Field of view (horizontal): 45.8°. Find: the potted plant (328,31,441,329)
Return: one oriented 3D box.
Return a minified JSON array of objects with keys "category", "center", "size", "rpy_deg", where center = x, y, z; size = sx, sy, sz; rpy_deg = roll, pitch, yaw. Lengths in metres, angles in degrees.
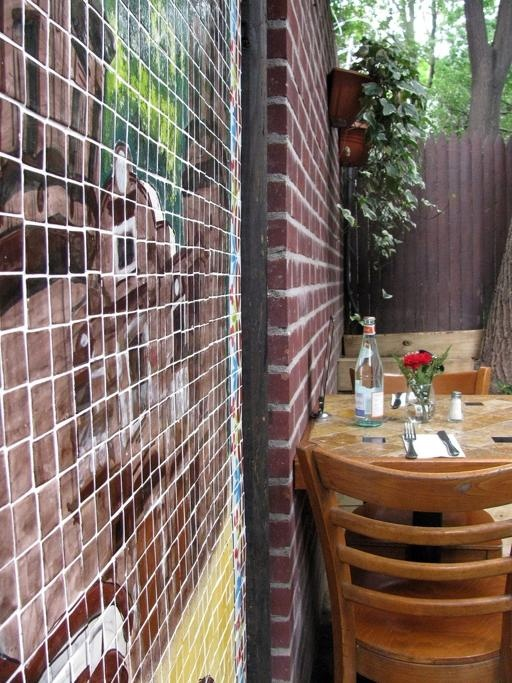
[{"category":"potted plant","center":[0.779,-0.871,3.806],"size":[0.568,1.788,2.098],"rpy_deg":[1,8,15]}]

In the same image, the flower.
[{"category":"flower","center":[0.551,0.127,1.893],"size":[0.109,0.211,0.111],"rpy_deg":[-11,15,-29]}]

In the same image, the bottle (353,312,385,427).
[{"category":"bottle","center":[0.357,0.096,1.876],"size":[0.071,0.365,0.079],"rpy_deg":[-1,23,11]}]

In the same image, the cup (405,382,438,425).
[{"category":"cup","center":[0.505,0.195,1.842],"size":[0.073,0.173,0.093],"rpy_deg":[0,-3,3]}]
